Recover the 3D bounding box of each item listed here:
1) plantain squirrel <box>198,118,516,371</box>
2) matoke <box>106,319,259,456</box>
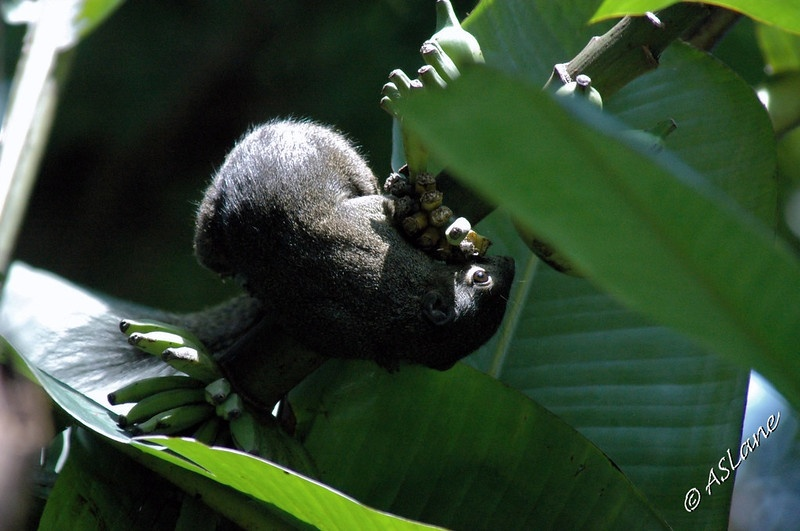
[{"bbox_3d":[-0.108,-0.024,3.011,0.574,0.401,0.952,-41,48,-23],"label":"plantain squirrel"},{"bbox_3d":[-0.589,0.356,3.014,0.310,0.434,0.166,-54,9,10],"label":"matoke"}]
